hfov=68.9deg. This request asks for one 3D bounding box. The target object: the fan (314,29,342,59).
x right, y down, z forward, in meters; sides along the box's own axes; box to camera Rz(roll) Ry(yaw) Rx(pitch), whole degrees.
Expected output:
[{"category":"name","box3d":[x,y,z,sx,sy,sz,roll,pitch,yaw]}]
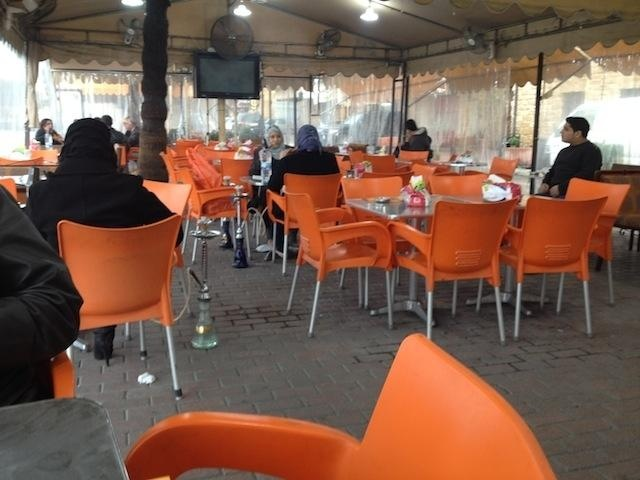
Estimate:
[{"category":"fan","box3d":[0.214,-5.542,13.003,0.752,0.750,0.199,-42,11,-1]}]

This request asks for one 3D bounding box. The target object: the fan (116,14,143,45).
[{"category":"fan","box3d":[-4.784,-5.380,11.876,0.576,0.736,0.476,-5,15,-20]}]

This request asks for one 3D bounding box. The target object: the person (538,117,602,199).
[{"category":"person","box3d":[3.496,-1.017,6.632,0.858,1.425,0.787,2,12,12]}]

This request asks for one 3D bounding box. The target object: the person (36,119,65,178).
[{"category":"person","box3d":[-6.239,-2.374,10.795,0.534,0.770,0.555,0,1,-33]}]

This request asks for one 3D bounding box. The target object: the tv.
[{"category":"tv","box3d":[-2.412,-4.349,12.231,1.732,1.163,0.306,-3,15,-14]}]
